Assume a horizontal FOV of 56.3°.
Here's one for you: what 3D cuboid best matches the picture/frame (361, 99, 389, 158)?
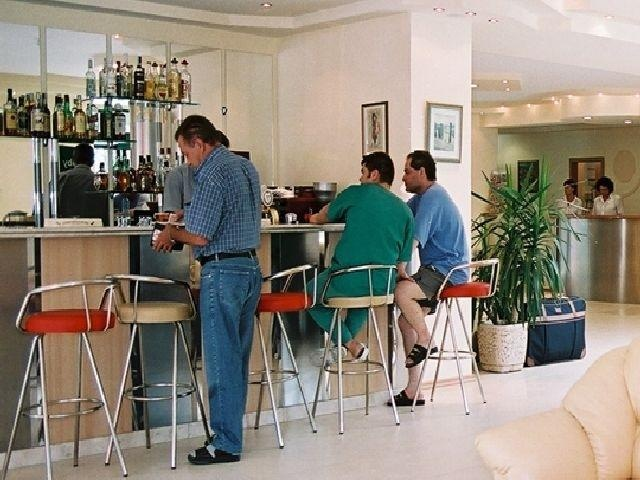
[{"bbox_3d":[0.550,-1.131,6.112,0.027,0.525,0.360,-6,8,-37],"label":"picture/frame"}]

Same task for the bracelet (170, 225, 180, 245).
[{"bbox_3d":[-0.921,-0.031,3.869,0.038,0.105,0.073,-7,-2,-10],"label":"bracelet"}]

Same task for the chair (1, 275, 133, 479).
[{"bbox_3d":[-1.662,0.876,3.843,0.768,1.318,0.795,-3,6,-19],"label":"chair"}]

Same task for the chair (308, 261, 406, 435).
[{"bbox_3d":[0.267,0.837,4.879,0.691,1.262,0.707,-1,-3,39],"label":"chair"}]

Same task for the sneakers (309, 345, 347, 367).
[{"bbox_3d":[0.043,0.970,5.064,0.145,0.196,0.439,-1,-1,-27],"label":"sneakers"}]

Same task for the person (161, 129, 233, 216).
[{"bbox_3d":[-1.094,-0.629,5.827,0.314,0.912,0.880,9,7,6],"label":"person"}]

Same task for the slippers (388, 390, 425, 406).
[{"bbox_3d":[0.762,1.384,5.360,0.311,0.141,0.148,1,-5,8],"label":"slippers"}]

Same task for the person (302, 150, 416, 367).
[{"bbox_3d":[0.350,0.158,4.820,0.882,1.726,0.621,-1,5,-3],"label":"person"}]

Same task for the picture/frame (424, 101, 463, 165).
[{"bbox_3d":[1.252,-1.094,6.107,0.030,0.588,0.568,-4,12,-27],"label":"picture/frame"}]

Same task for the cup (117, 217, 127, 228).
[{"bbox_3d":[-1.918,-0.171,5.816,0.131,0.132,0.094,1,0,35],"label":"cup"}]

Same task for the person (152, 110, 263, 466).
[{"bbox_3d":[-0.704,0.330,4.006,0.628,2.319,0.365,-1,5,-6],"label":"person"}]

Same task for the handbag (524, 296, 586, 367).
[{"bbox_3d":[2.678,1.048,7.005,0.774,0.723,0.440,-3,4,-13],"label":"handbag"}]

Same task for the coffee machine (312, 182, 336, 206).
[{"bbox_3d":[0.039,-0.474,6.265,0.233,0.215,0.217,-1,1,6],"label":"coffee machine"}]

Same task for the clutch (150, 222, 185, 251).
[{"bbox_3d":[-0.994,-0.012,3.863,0.188,0.203,0.046,7,10,6],"label":"clutch"}]

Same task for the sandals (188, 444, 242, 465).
[{"bbox_3d":[-0.708,1.436,4.053,0.334,0.152,0.125,4,-5,-6],"label":"sandals"}]
